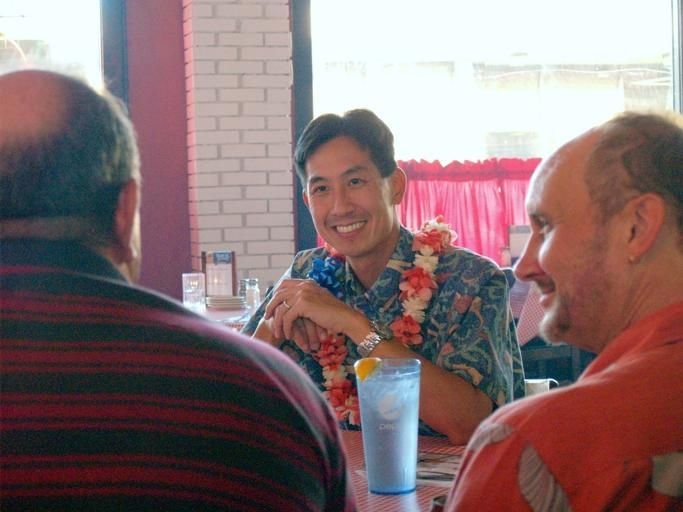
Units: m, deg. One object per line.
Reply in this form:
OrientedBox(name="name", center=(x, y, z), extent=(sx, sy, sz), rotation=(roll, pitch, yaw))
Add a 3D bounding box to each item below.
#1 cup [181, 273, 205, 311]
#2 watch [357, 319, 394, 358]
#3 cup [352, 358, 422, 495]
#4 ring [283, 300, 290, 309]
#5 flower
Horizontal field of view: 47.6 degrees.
OrientedBox(name="cup", center=(-0.635, 0.161, 3.353), extent=(0.105, 0.169, 0.100), rotation=(-1, 5, 0))
OrientedBox(name="watch", center=(0.073, 0.190, 1.797), extent=(0.088, 0.081, 0.056), rotation=(-19, 45, -22))
OrientedBox(name="cup", center=(0.077, 0.282, 1.274), extent=(0.099, 0.219, 0.046), rotation=(0, 0, 2))
OrientedBox(name="ring", center=(-0.132, 0.119, 1.860), extent=(0.004, 0.016, 0.016), rotation=(-15, 9, -26))
OrientedBox(name="flower", center=(0.075, 0.116, 1.867), extent=(0.361, 0.501, 0.144), rotation=(-20, -40, 24))
